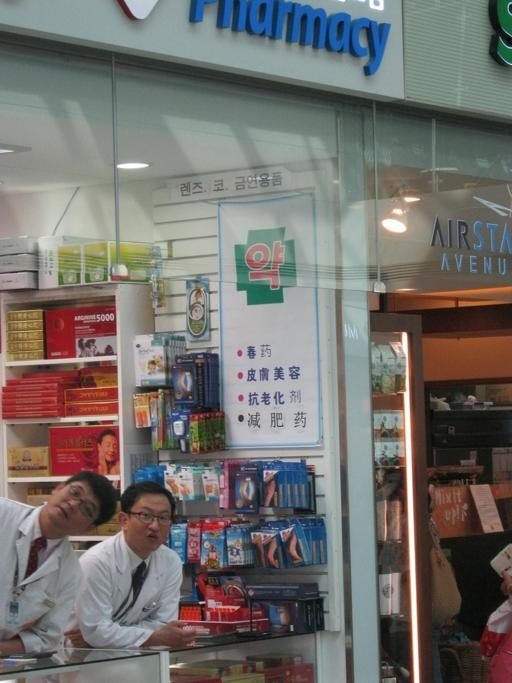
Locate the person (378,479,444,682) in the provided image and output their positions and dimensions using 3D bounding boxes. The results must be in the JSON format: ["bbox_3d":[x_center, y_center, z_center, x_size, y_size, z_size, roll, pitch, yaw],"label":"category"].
[{"bbox_3d":[0.673,1.173,4.049,0.262,1.021,0.189,-3,-11,-27],"label":"person"}]

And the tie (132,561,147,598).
[{"bbox_3d":[-0.425,0.867,2.996,0.038,0.147,0.038,14,31,2],"label":"tie"}]

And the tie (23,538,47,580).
[{"bbox_3d":[-0.665,0.650,2.502,0.042,0.141,0.035,17,-25,-9],"label":"tie"}]

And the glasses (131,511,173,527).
[{"bbox_3d":[-0.376,0.638,2.961,0.147,0.063,0.084,-5,-9,-14],"label":"glasses"}]

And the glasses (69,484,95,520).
[{"bbox_3d":[-0.511,0.481,2.440,0.046,0.070,0.091,-39,11,-10],"label":"glasses"}]
